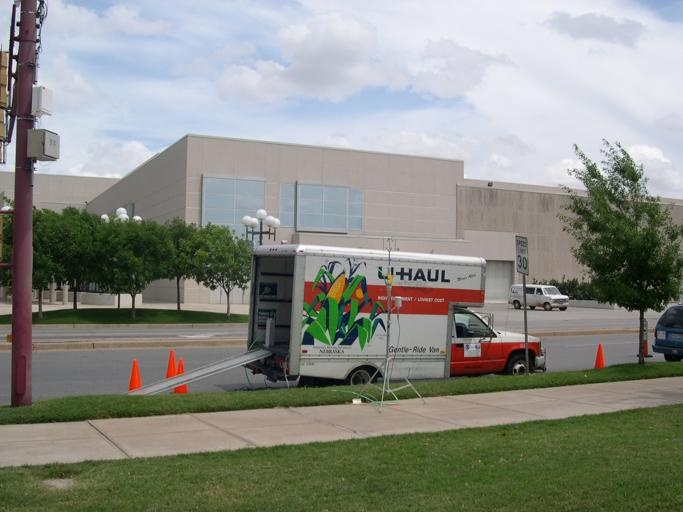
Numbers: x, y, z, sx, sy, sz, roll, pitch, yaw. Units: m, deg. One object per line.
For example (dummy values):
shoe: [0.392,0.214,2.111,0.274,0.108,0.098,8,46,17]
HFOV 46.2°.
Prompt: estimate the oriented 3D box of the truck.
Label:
truck: [1.579,1.523,18.157,6.549,3.460,2.197,2,0,-25]

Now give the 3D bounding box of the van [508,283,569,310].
van: [12.423,2.617,50.780,4.027,1.763,2.284,-1,-2,33]
